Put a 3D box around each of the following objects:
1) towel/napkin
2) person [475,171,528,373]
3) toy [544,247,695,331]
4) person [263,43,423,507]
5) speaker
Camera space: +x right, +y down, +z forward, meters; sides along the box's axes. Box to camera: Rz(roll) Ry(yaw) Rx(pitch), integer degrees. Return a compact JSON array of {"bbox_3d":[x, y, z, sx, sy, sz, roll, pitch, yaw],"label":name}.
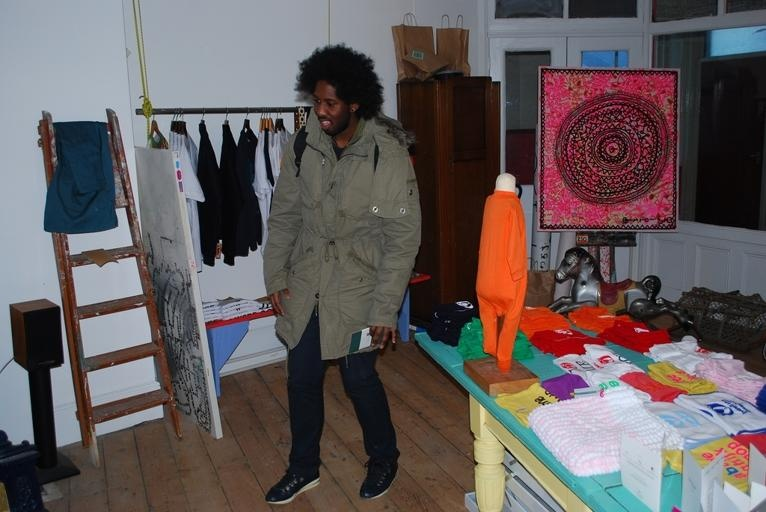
[{"bbox_3d":[-1.934,-0.493,3.363,0.423,0.677,0.147,-10,15,-31],"label":"towel/napkin"},{"bbox_3d":[0.525,0.073,2.399,0.214,0.855,0.246,-1,12,5],"label":"person"},{"bbox_3d":[1.548,0.203,3.968,1.307,0.636,0.419,9,2,11],"label":"toy"},{"bbox_3d":[-0.243,0.161,2.847,0.877,2.468,0.434,-1,12,3],"label":"person"},{"bbox_3d":[-2.141,0.490,3.288,0.277,0.504,0.296,-12,25,-36],"label":"speaker"}]
